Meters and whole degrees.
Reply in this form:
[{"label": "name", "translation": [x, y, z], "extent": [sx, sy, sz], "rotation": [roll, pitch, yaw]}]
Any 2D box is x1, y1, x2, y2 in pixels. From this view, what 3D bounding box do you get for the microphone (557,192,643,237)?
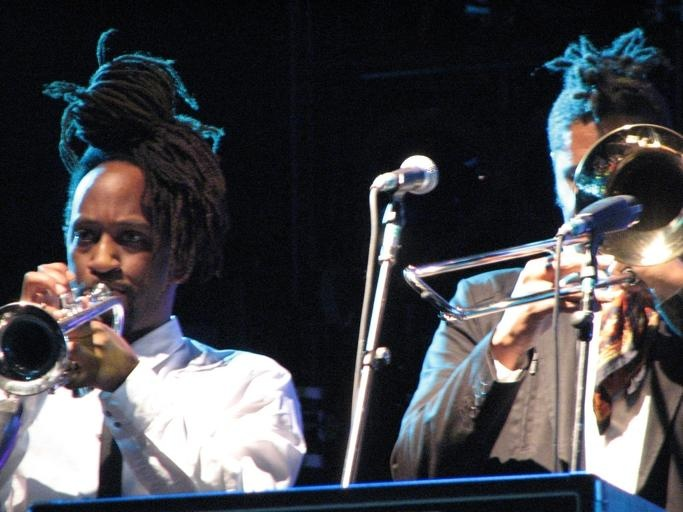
[{"label": "microphone", "translation": [0.864, -0.132, 4.552], "extent": [0.264, 0.183, 0.065], "rotation": [12, -19, -14]}]
